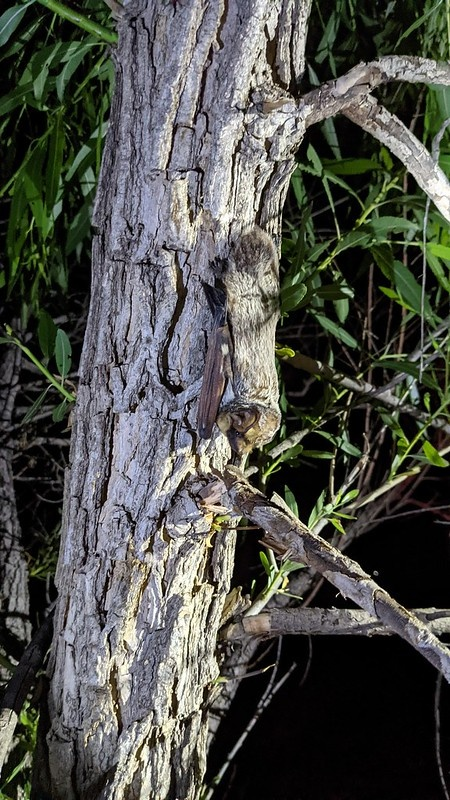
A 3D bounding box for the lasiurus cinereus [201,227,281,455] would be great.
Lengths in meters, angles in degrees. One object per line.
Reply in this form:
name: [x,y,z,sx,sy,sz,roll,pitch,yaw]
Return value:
lasiurus cinereus: [0.026,-0.078,1.157,0.106,0.275,0.153,13,6,27]
